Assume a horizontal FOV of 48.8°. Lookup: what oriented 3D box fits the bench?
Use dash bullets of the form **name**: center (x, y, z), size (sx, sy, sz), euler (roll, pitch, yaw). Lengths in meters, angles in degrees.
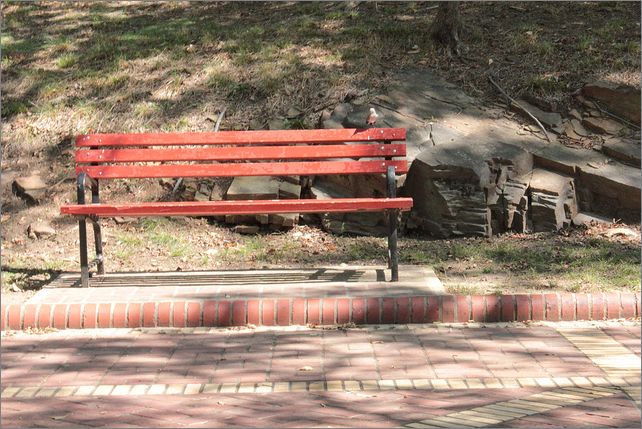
- **bench**: center (-1.043, -0.181, 8.797), size (3.980, 1.877, 2.161), euler (2, 33, -2)
